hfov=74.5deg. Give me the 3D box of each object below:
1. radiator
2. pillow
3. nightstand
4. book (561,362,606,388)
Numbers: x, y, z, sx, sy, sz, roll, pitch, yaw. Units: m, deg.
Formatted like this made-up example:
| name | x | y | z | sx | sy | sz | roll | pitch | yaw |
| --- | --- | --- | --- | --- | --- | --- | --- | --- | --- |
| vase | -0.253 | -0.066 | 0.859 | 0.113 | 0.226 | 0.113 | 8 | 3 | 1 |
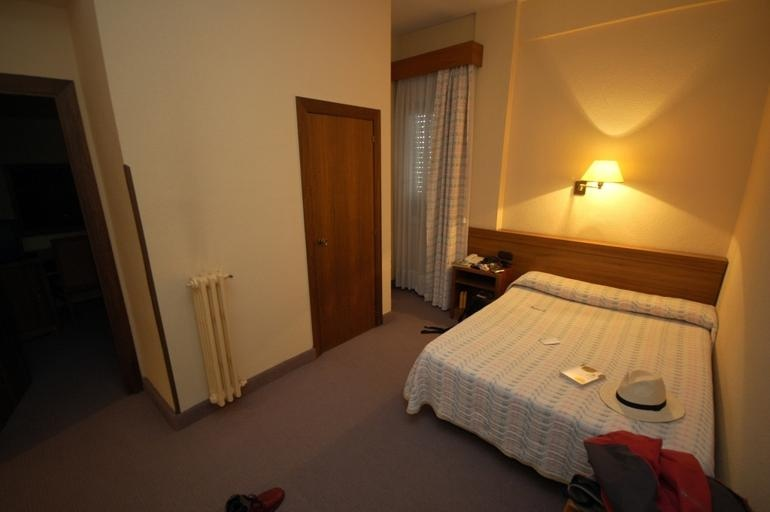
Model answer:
| name | x | y | z | sx | sy | sz | roll | pitch | yaw |
| --- | --- | --- | --- | --- | --- | --- | --- | --- | --- |
| radiator | -1.591 | 0.788 | 4.751 | 0.347 | 1.251 | 0.205 | -7 | 17 | -23 |
| pillow | 2.445 | 0.481 | 5.439 | 2.090 | 0.233 | 0.527 | 17 | 13 | 25 |
| nightstand | 1.119 | 0.395 | 6.085 | 0.553 | 0.677 | 0.694 | -7 | 16 | -36 |
| book | 1.728 | 1.031 | 4.414 | 0.345 | 0.097 | 0.194 | -5 | 17 | -18 |
